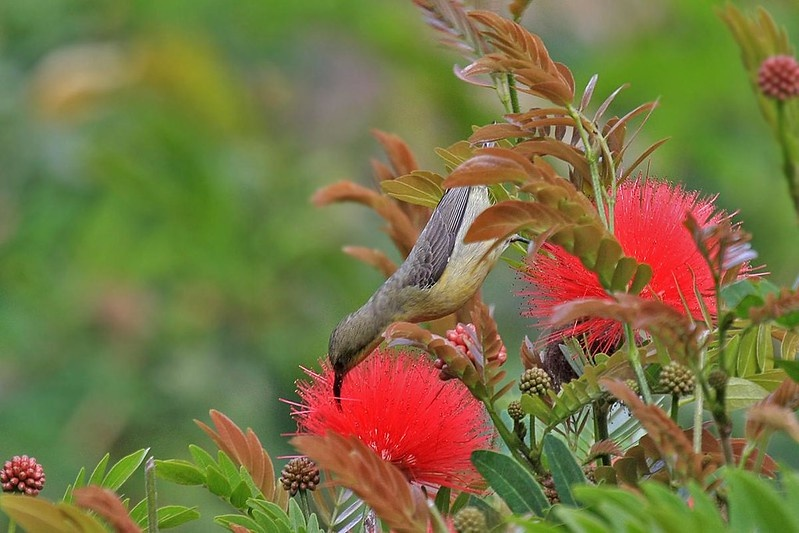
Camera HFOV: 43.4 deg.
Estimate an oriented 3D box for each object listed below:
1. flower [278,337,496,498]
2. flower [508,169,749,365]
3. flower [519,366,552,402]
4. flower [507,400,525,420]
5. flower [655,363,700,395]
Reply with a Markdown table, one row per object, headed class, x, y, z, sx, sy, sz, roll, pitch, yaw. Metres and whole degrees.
| class | x | y | z | sx | sy | sz | roll | pitch | yaw |
| --- | --- | --- | --- | --- | --- | --- | --- | --- | --- |
| flower | -0.037 | 0.244 | 1.492 | 0.164 | 0.208 | 0.223 | 19 | -55 | -41 |
| flower | 0.347 | -0.034 | 1.458 | 0.244 | 0.209 | 0.281 | 20 | 45 | 38 |
| flower | 0.190 | 0.161 | 1.397 | 0.037 | 0.047 | 0.035 | -5 | -10 | -12 |
| flower | 0.162 | 0.197 | 1.388 | 0.021 | 0.026 | 0.023 | -1 | -16 | 2 |
| flower | 0.369 | 0.148 | 1.329 | 0.046 | 0.047 | 0.042 | -10 | 4 | 14 |
